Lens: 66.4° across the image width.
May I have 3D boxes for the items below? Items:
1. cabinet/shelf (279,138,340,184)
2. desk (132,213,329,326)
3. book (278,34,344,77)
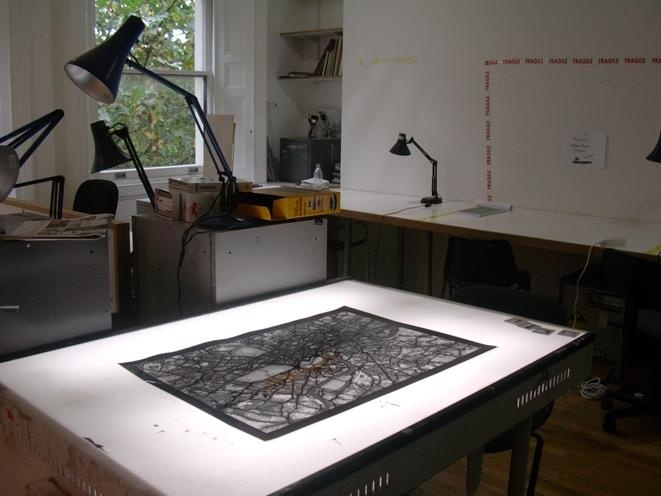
[{"bbox_3d":[-0.240,-0.956,5.572,0.465,0.664,0.640,-7,11,-37],"label":"cabinet/shelf"},{"bbox_3d":[-0.494,0.043,2.240,0.581,0.446,0.574,6,9,42],"label":"desk"},{"bbox_3d":[-0.130,-2.129,5.681,0.727,0.466,0.452,9,16,25],"label":"book"}]
